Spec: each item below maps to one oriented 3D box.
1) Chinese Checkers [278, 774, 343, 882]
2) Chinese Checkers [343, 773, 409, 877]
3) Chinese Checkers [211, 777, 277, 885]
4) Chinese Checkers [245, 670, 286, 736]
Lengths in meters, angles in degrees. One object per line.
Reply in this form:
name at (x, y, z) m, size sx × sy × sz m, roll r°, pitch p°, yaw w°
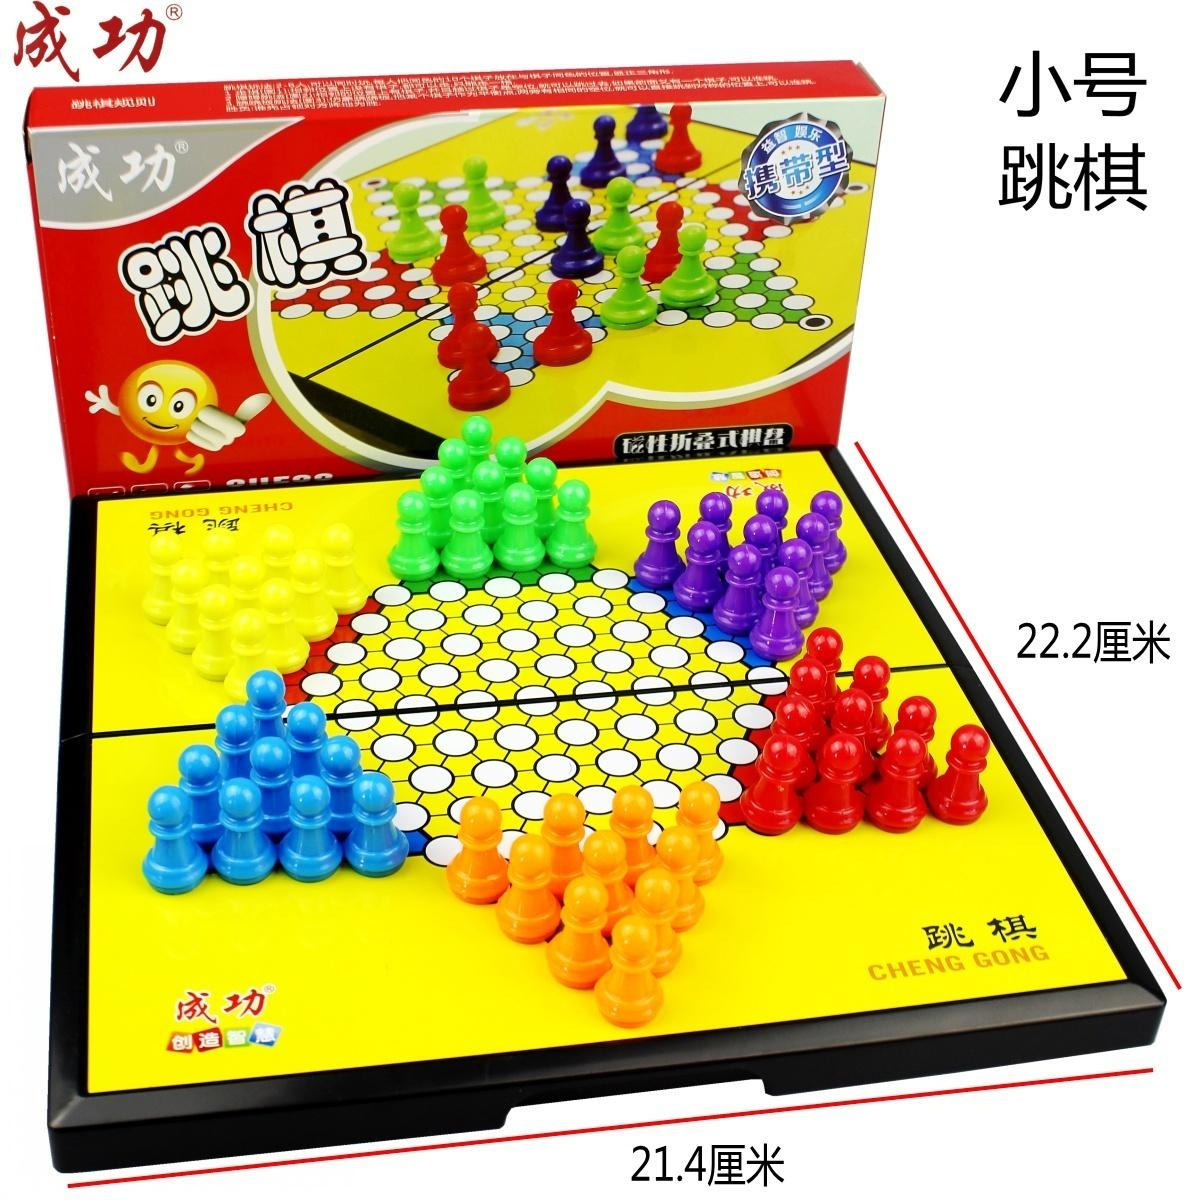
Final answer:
Chinese Checkers at (-0.447, 0.346, 1.868) m, size 0.093 × 0.168 × 0.075 m, roll -1°, pitch 27°, yaw -13°
Chinese Checkers at (-0.346, 0.340, 1.887) m, size 0.098 × 0.160 × 0.097 m, roll -4°, pitch 27°, yaw -19°
Chinese Checkers at (-0.546, 0.344, 1.859) m, size 0.091 × 0.173 × 0.086 m, roll -9°, pitch 30°, yaw -28°
Chinese Checkers at (-0.559, 0.174, 2.030) m, size 0.056 × 0.123 × 0.116 m, roll -2°, pitch 26°, yaw -17°
